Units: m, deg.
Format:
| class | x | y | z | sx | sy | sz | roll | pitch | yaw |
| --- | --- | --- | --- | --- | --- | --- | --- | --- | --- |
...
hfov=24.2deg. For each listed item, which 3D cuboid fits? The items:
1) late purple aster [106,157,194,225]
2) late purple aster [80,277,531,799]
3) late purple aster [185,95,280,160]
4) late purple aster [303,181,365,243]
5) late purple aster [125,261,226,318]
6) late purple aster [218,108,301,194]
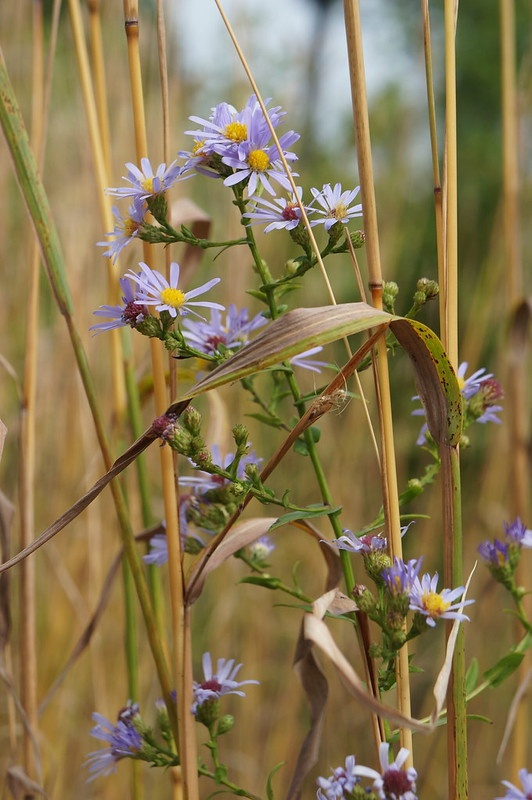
| class | x | y | z | sx | sy | sz | roll | pitch | yaw |
| --- | --- | --- | --- | --- | --- | --- | --- | --- | --- |
| late purple aster | -0.120 | -0.228 | 1.381 | 0.088 | 0.056 | 0.091 | -8 | 5 | 27 |
| late purple aster | 0.039 | 0.157 | 1.405 | 0.502 | 0.615 | 0.502 | -3 | 10 | 12 |
| late purple aster | -0.026 | -0.302 | 1.364 | 0.076 | 0.036 | 0.082 | 5 | 6 | 4 |
| late purple aster | 0.077 | -0.209 | 1.387 | 0.048 | 0.052 | 0.025 | -17 | 51 | -7 |
| late purple aster | -0.099 | -0.118 | 1.360 | 0.095 | 0.037 | 0.117 | 1 | -12 | 30 |
| late purple aster | -0.009 | -0.270 | 1.356 | 0.074 | 0.037 | 0.067 | -3 | 1 | -30 |
